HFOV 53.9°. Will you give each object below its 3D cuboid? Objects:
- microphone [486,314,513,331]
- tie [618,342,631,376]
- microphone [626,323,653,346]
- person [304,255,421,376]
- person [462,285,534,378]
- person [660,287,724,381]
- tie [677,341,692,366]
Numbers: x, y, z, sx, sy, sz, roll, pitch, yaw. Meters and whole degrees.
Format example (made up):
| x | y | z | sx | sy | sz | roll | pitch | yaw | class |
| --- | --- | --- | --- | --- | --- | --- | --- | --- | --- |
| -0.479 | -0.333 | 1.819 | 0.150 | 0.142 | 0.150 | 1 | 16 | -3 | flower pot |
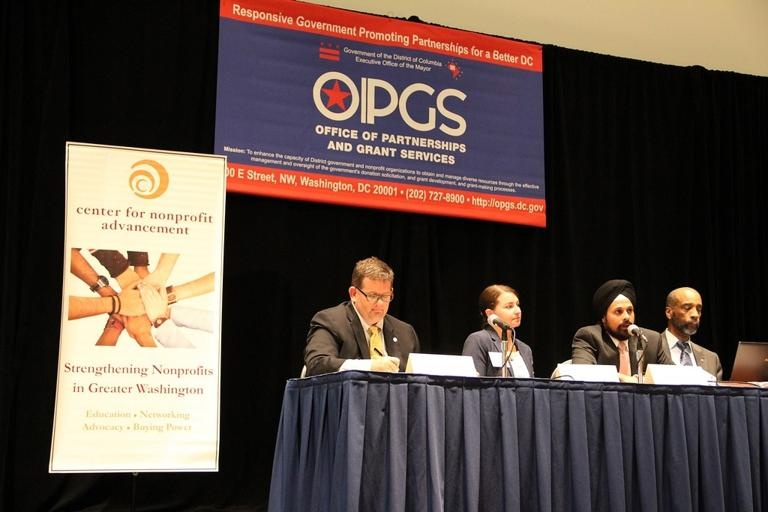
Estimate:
| x | y | z | sx | sy | sz | roll | pitch | yaw | class |
| --- | --- | --- | --- | --- | --- | --- | --- | --- | --- |
| 0.849 | 0.481 | 5.513 | 0.184 | 0.059 | 0.059 | 31 | 12 | -29 | microphone |
| 1.962 | 0.817 | 6.144 | 0.094 | 0.267 | 0.103 | -3 | -5 | 15 | tie |
| 2.013 | 0.613 | 5.949 | 0.129 | 0.142 | 0.443 | 23 | -6 | 6 | microphone |
| -0.221 | 0.415 | 5.547 | 0.803 | 0.863 | 1.199 | -3 | -6 | 9 | person |
| 0.822 | 0.536 | 5.612 | 0.487 | 0.699 | 0.890 | -3 | -6 | 15 | person |
| 2.671 | 0.678 | 6.574 | 0.726 | 0.680 | 0.394 | 6 | -20 | -14 | person |
| 2.562 | 0.810 | 6.430 | 0.114 | 0.190 | 0.172 | -4 | -6 | 19 | tie |
